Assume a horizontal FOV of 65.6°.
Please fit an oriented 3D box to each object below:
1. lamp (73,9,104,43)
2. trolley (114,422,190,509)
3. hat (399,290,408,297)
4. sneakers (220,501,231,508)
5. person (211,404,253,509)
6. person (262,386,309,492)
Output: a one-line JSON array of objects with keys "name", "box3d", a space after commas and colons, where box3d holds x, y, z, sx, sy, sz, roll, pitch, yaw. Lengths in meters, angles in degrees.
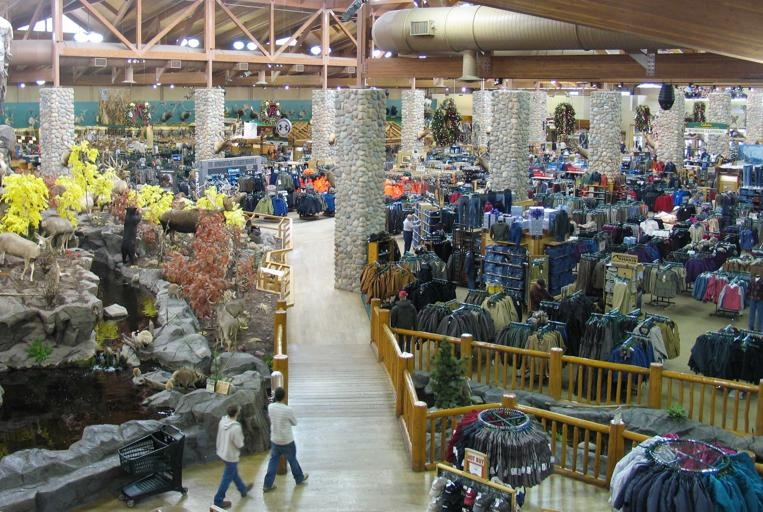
[{"name": "lamp", "box3d": [-12.664, -9.582, 25.429, 1.142, 0.678, 0.854, -2, 6, -21]}, {"name": "trolley", "box3d": [-2.630, 2.368, 6.993, 0.845, 0.952, 0.594, -3, 11, -40]}, {"name": "hat", "box3d": [0.350, 0.621, 9.726, 0.097, 0.122, 0.126, 2, 19, 5]}, {"name": "sneakers", "box3d": [-1.719, 2.704, 6.482, 0.110, 0.077, 0.038, -17, 36, -29]}, {"name": "person", "box3d": [-1.723, 2.157, 6.748, 0.431, 1.120, 0.898, -1, 6, -13]}, {"name": "person", "box3d": [-1.122, 2.040, 6.761, 0.503, 1.225, 0.505, -1, 5, -11]}]
